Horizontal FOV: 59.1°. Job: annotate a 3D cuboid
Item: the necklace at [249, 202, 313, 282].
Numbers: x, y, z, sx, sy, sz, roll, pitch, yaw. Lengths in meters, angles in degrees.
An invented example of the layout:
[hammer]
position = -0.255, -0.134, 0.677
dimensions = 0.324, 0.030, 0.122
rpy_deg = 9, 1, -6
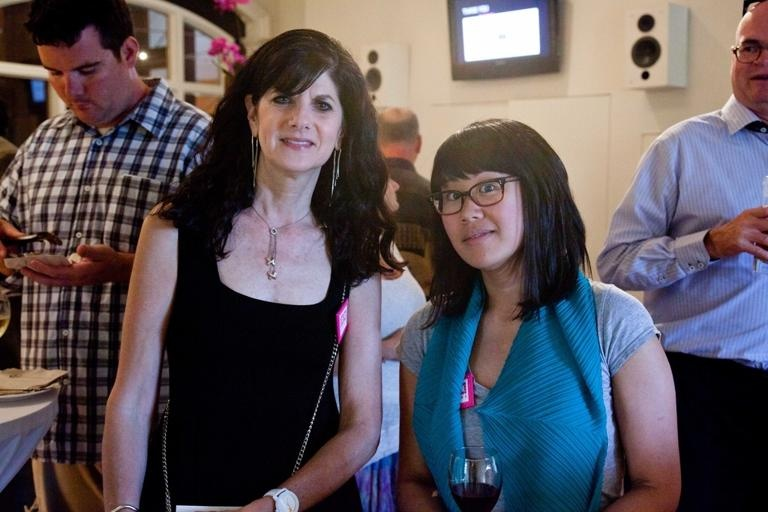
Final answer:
[necklace]
position = -0.352, -0.037, 2.256
dimensions = 0.235, 0.318, 0.033
rpy_deg = 5, -19, 0
